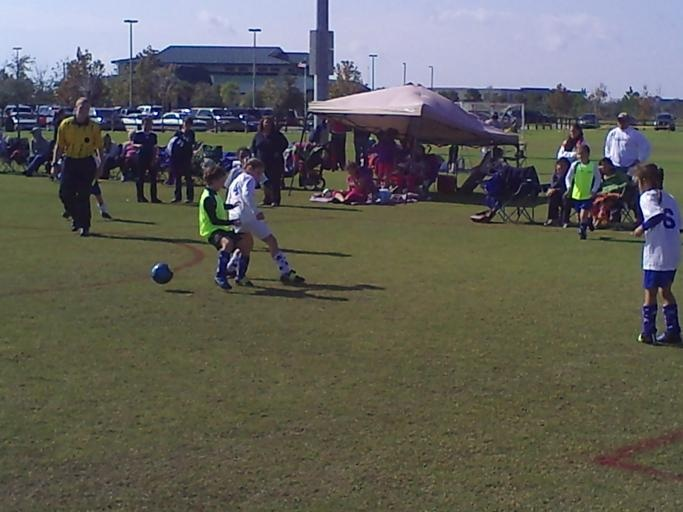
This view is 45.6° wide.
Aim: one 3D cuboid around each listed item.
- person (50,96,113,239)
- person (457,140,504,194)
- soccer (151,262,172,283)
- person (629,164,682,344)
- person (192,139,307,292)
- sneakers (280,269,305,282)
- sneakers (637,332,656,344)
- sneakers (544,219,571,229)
[{"bbox_3d":[-4.635,-1.549,14.261,0.833,2.383,0.624,-1,11,-9],"label":"person"},{"bbox_3d":[4.204,-2.527,24.111,0.894,1.284,2.134,7,14,28],"label":"person"},{"bbox_3d":[-2.471,0.222,11.229,0.249,0.278,0.246,-8,5,-36],"label":"soccer"},{"bbox_3d":[3.643,-0.042,9.266,0.621,2.002,0.718,5,12,23],"label":"person"},{"bbox_3d":[-1.341,-0.438,11.120,1.162,1.711,0.762,-2,11,-15],"label":"person"},{"bbox_3d":[-0.685,0.282,11.442,0.311,0.170,0.168,-1,1,42],"label":"sneakers"},{"bbox_3d":[3.508,0.924,9.286,0.093,0.133,0.185,2,12,3],"label":"sneakers"},{"bbox_3d":[4.609,-0.684,17.172,0.546,0.273,0.198,-2,6,2],"label":"sneakers"}]
